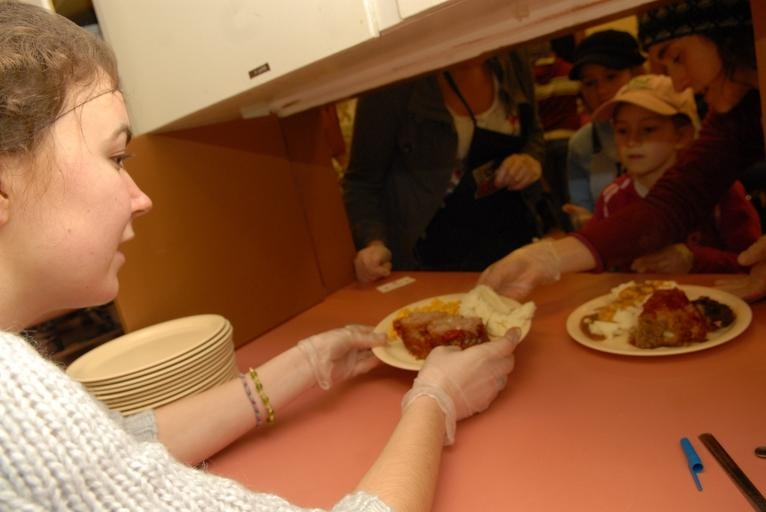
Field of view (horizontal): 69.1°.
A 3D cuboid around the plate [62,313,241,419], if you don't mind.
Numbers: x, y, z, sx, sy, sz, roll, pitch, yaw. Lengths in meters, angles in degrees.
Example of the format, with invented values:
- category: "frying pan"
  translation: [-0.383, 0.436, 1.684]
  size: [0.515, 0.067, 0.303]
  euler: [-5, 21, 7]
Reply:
- category: "plate"
  translation: [-0.567, 0.219, 1.390]
  size: [0.272, 0.112, 0.269]
  euler: [-21, 6, -6]

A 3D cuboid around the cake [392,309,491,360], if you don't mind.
- category: "cake"
  translation: [0.134, 0.191, 1.379]
  size: [0.188, 0.062, 0.113]
  euler: [-1, 10, 25]

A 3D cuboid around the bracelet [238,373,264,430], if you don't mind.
- category: "bracelet"
  translation: [-0.316, 0.339, 1.263]
  size: [0.024, 0.094, 0.090]
  euler: [-20, 30, -17]
